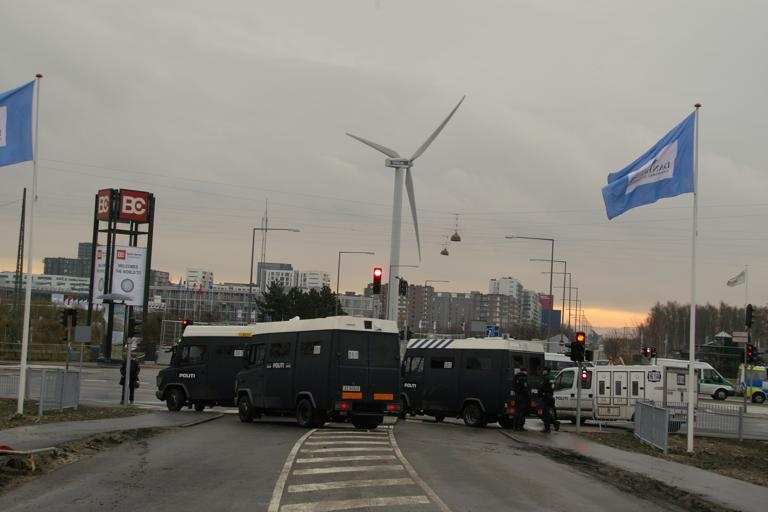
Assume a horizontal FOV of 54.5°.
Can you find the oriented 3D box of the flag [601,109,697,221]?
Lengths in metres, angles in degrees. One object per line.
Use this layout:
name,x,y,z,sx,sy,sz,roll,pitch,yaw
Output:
flag,9.998,-3.369,27.791,0.406,4.054,3.497,29,-26,-37
